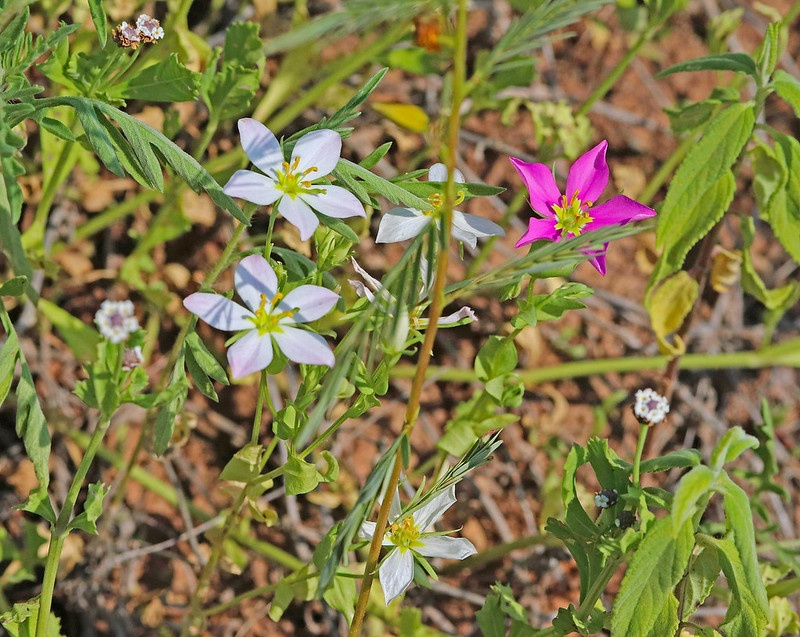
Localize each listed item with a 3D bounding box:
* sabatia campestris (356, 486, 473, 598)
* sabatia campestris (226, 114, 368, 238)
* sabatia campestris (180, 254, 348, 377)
[{"bbox_3d":[0.022,0.470,1.830,0.233,0.307,0.158,-5,103,-18],"label":"sabatia campestris"},{"bbox_3d":[-0.201,-0.278,1.615,0.258,0.118,0.229,3,86,0],"label":"sabatia campestris"},{"bbox_3d":[-0.265,-0.005,1.595,0.284,0.217,0.245,-4,86,0],"label":"sabatia campestris"}]
